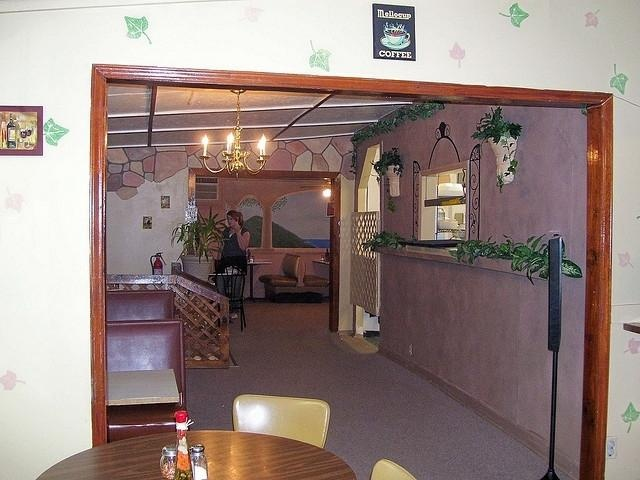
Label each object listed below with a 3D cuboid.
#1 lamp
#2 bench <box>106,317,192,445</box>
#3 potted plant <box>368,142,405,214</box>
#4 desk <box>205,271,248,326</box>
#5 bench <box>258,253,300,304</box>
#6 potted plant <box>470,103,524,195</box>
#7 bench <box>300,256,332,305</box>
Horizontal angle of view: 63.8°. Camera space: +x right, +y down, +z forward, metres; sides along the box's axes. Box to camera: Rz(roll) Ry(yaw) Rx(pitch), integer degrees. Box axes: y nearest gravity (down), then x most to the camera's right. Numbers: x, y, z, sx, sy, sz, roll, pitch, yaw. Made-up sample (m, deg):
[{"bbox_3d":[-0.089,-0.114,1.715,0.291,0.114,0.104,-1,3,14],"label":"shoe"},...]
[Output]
[{"bbox_3d":[-0.980,-1.075,5.455,0.775,1.005,0.800,2,1,23],"label":"lamp"},{"bbox_3d":[-1.093,0.946,3.212,0.465,0.736,0.742,3,4,-25],"label":"bench"},{"bbox_3d":[0.817,-0.724,6.080,0.235,0.756,0.397,0,3,-14],"label":"potted plant"},{"bbox_3d":[-1.378,0.853,7.729,0.527,0.962,1.598,0,3,-9],"label":"desk"},{"bbox_3d":[-0.820,0.801,10.888,0.710,0.979,1.272,-1,1,-22],"label":"bench"},{"bbox_3d":[1.355,-0.710,3.975,0.355,0.602,0.325,1,3,7],"label":"potted plant"},{"bbox_3d":[-0.068,0.757,11.023,0.671,0.855,1.230,1,4,-3],"label":"bench"}]
